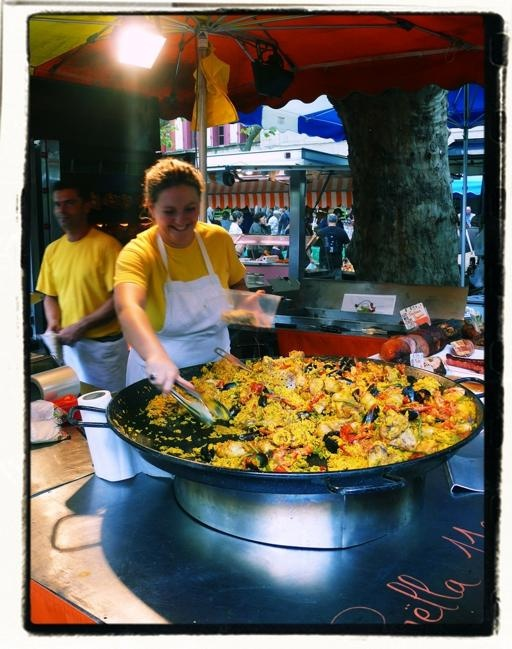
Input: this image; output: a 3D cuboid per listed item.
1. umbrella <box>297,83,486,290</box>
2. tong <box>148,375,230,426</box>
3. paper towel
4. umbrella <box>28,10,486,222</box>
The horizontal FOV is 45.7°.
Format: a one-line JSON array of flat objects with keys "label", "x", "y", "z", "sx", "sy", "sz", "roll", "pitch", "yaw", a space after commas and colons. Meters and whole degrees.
[{"label": "umbrella", "x": 0.954, "y": -0.915, "z": 4.313, "sx": 1.344, "sy": 1.221, "sz": 1.230, "roll": -2, "pitch": 4, "yaw": 26}, {"label": "tong", "x": -0.207, "y": 0.232, "z": 1.807, "sx": 0.238, "sy": 0.061, "sz": 0.059, "roll": 28, "pitch": 15, "yaw": 7}, {"label": "paper towel", "x": -0.362, "y": 0.307, "z": 1.782, "sx": 0.331, "sy": 0.251, "sz": 0.173, "roll": -4, "pitch": 17, "yaw": -15}, {"label": "umbrella", "x": -0.086, "y": -1.445, "z": 3.568, "sx": 2.068, "sy": 0.732, "sz": 2.159, "roll": 1, "pitch": 28, "yaw": 41}]
